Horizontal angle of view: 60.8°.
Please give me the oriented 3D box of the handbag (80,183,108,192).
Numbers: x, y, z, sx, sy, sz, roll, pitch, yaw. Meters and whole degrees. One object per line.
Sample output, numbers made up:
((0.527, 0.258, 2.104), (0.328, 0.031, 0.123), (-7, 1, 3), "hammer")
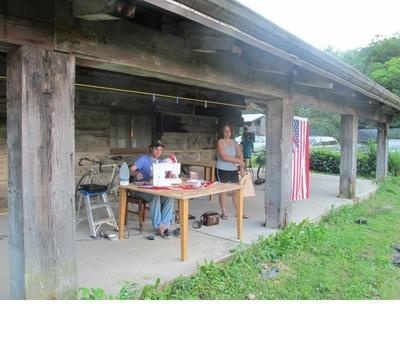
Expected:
((-1.659, 0.211, 5.301), (0.398, 0.101, 0.488), (0, 10, -23), "handbag")

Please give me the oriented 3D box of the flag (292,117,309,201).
((1.840, -0.288, 6.249), (0.072, 1.753, 1.446), (2, 2, 34), "flag")

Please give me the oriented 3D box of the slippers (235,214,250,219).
((0.799, 0.783, 6.388), (0.222, 0.073, 0.130), (-1, 1, -1), "slippers")

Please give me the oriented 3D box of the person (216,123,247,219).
((0.521, -0.041, 6.077), (0.505, 1.588, 0.463), (-1, 12, -19), "person")

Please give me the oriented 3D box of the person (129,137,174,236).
((-0.691, 0.124, 5.234), (0.545, 1.516, 0.613), (0, 1, -33), "person")

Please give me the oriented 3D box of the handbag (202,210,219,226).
((0.182, 0.722, 5.692), (0.205, 0.248, 0.260), (-3, -4, 42), "handbag")

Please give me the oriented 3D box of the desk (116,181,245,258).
((-0.231, 0.494, 5.006), (1.509, 0.998, 1.242), (-3, 15, -39), "desk")

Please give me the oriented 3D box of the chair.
((-0.949, 0.517, 5.530), (0.377, 0.696, 0.392), (-3, 5, -44), "chair")

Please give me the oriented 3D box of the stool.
((-1.774, 0.613, 5.803), (0.538, 0.817, 0.854), (-8, 12, -43), "stool")
